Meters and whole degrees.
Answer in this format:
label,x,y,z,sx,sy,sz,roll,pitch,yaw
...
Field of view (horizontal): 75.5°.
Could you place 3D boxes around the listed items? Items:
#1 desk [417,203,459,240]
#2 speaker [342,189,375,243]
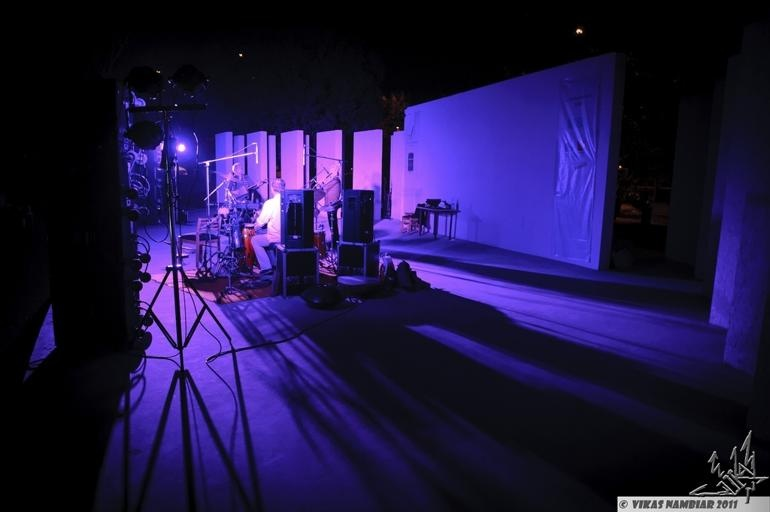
label,x,y,z,sx,sy,sz,roll,pitch,yaw
desk,1.478,-1.043,13.517,0.940,0.910,1.215,-2,8,-21
speaker,-0.442,-0.664,8.081,0.495,0.840,0.337,-1,13,-8
